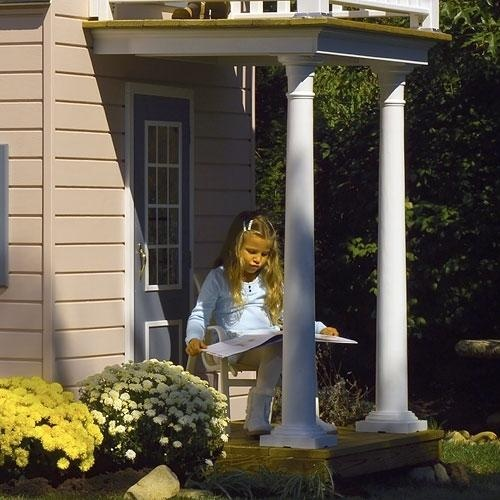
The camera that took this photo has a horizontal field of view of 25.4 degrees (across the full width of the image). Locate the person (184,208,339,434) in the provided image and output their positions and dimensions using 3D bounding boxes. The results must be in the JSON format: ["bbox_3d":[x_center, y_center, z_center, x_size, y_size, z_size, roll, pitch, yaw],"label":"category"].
[{"bbox_3d":[0.083,0.476,7.197,0.857,1.514,0.790,-6,-11,25],"label":"person"}]

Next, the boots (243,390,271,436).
[{"bbox_3d":[0.053,1.017,7.003,0.180,0.292,0.250,-1,-1,-1],"label":"boots"}]

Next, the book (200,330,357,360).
[{"bbox_3d":[0.145,0.604,6.938,0.869,0.197,0.806,-1,-1,-2],"label":"book"}]

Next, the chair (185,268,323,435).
[{"bbox_3d":[-0.095,0.700,7.325,0.884,1.421,0.928,6,-14,-31],"label":"chair"}]
